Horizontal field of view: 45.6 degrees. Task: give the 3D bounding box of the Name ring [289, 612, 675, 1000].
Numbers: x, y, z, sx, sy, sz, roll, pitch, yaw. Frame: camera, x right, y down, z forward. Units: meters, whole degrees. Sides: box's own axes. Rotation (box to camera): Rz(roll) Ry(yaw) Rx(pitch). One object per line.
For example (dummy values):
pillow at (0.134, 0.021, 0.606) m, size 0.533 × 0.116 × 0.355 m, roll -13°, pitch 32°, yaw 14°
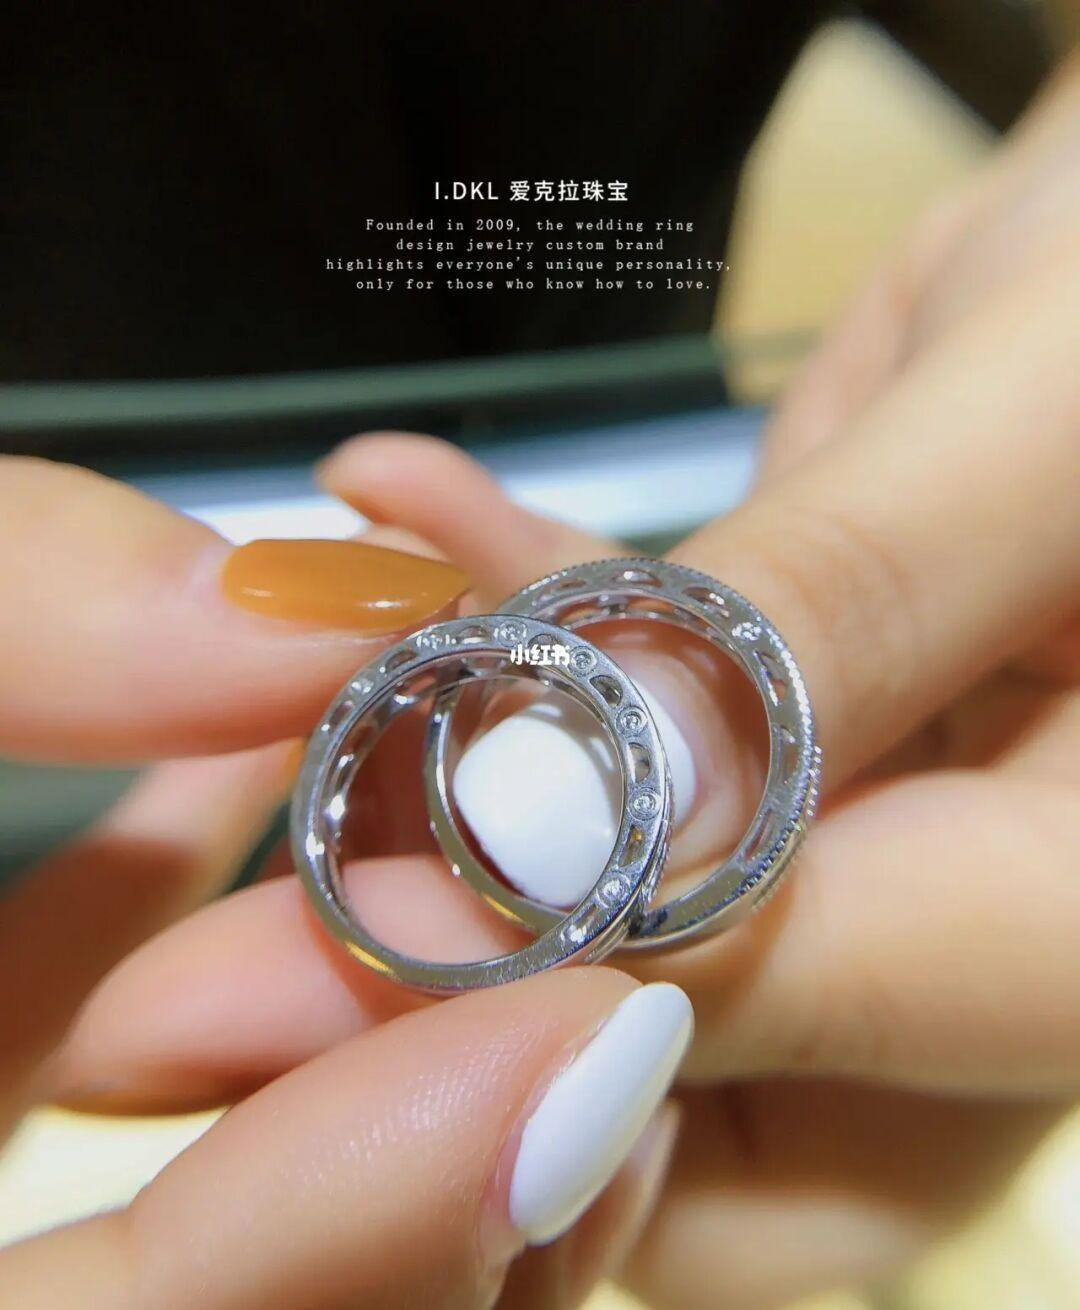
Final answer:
Name ring at (-0.040, 0.071, 0.656) m, size 0.227 × 0.052 × 0.184 m, roll 15°, pitch 79°, yaw -36°
